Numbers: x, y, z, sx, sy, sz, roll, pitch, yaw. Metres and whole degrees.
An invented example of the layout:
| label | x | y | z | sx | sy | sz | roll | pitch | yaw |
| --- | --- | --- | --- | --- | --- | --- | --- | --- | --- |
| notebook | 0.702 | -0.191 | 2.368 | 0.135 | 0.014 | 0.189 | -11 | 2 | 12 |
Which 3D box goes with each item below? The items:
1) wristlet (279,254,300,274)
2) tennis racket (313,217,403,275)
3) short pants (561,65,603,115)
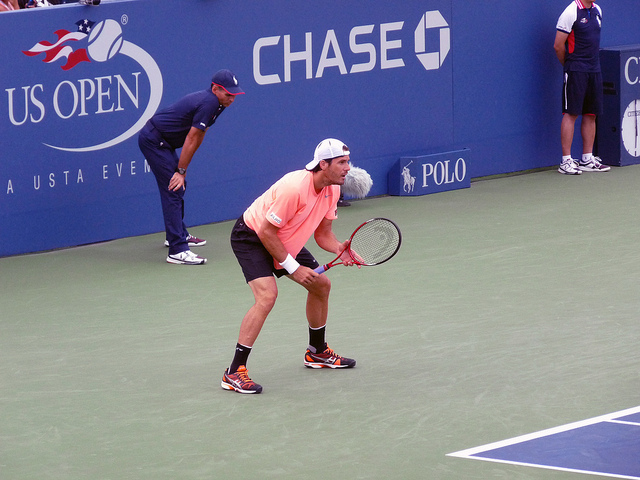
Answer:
| label | x | y | z | sx | sy | sz | roll | pitch | yaw |
| --- | --- | --- | --- | --- | --- | --- | --- | --- | --- |
| wristlet | -0.220 | 0.173 | 5.262 | 0.117 | 0.148 | 0.134 | -47 | 37 | -16 |
| tennis racket | 0.312 | 0.080 | 5.508 | 0.780 | 0.320 | 0.045 | -33 | -1 | 6 |
| short pants | 4.750 | -2.699 | 12.593 | 0.640 | 0.837 | 0.474 | -12 | 19 | -43 |
